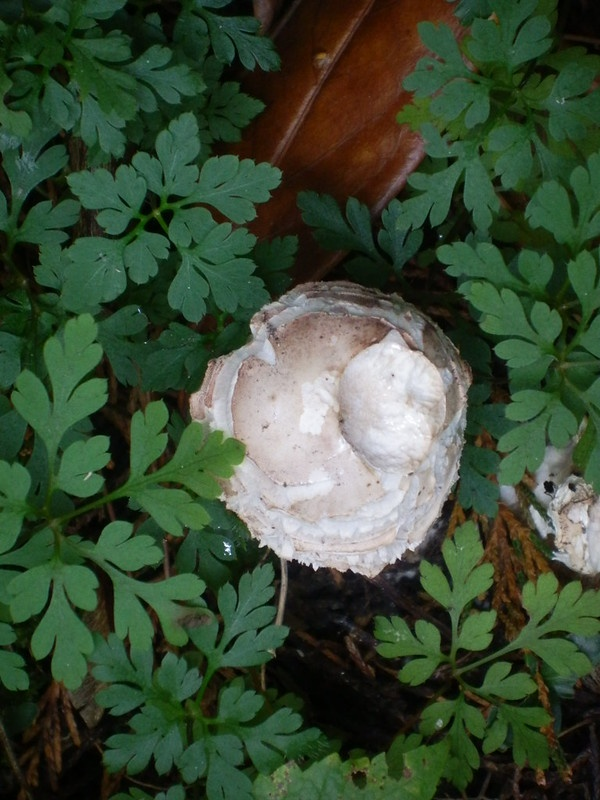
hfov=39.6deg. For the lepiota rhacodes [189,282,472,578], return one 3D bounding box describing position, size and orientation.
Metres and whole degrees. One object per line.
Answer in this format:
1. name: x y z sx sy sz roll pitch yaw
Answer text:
1. lepiota rhacodes: 0.032 0.050 2.321 0.928 0.328 0.798 -32 112 -41
